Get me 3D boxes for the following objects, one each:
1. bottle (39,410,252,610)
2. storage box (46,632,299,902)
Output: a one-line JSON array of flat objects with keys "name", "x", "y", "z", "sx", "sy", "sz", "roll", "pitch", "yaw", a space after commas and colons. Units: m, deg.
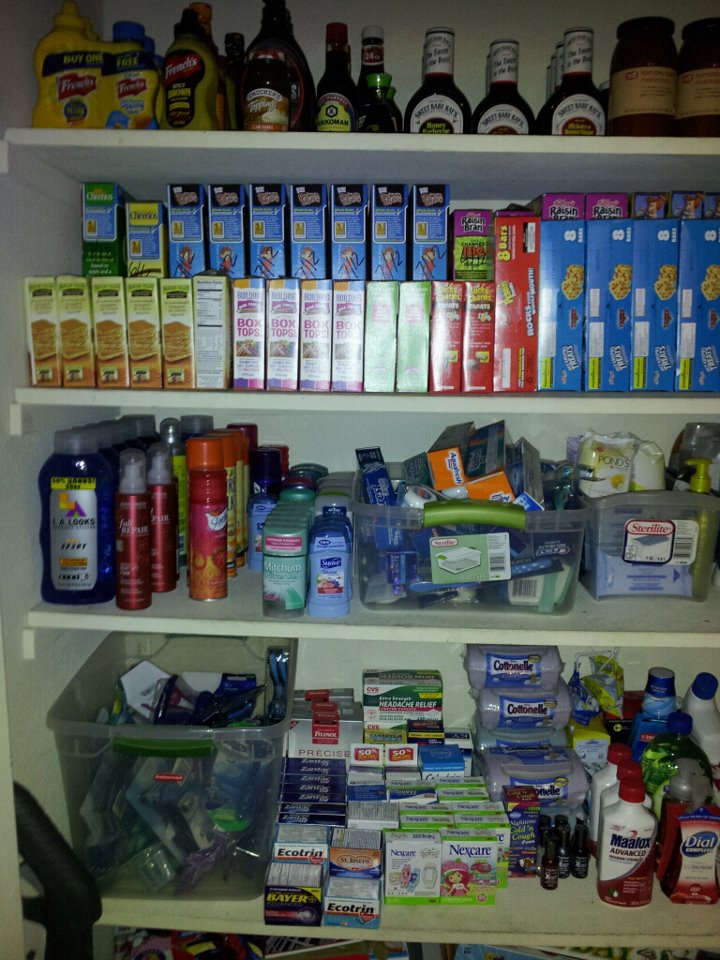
[{"name": "bottle", "x": -0.298, "y": 0.056, "z": 1.251, "sx": 0.354, "sy": 0.324, "sz": 0.191, "roll": -2, "pitch": 4, "yaw": -43}, {"name": "storage box", "x": -0.304, "y": 0.455, "z": 1.384, "sx": 0.316, "sy": 0.253, "sz": 0.385, "roll": 1, "pitch": 6, "yaw": 1}]
